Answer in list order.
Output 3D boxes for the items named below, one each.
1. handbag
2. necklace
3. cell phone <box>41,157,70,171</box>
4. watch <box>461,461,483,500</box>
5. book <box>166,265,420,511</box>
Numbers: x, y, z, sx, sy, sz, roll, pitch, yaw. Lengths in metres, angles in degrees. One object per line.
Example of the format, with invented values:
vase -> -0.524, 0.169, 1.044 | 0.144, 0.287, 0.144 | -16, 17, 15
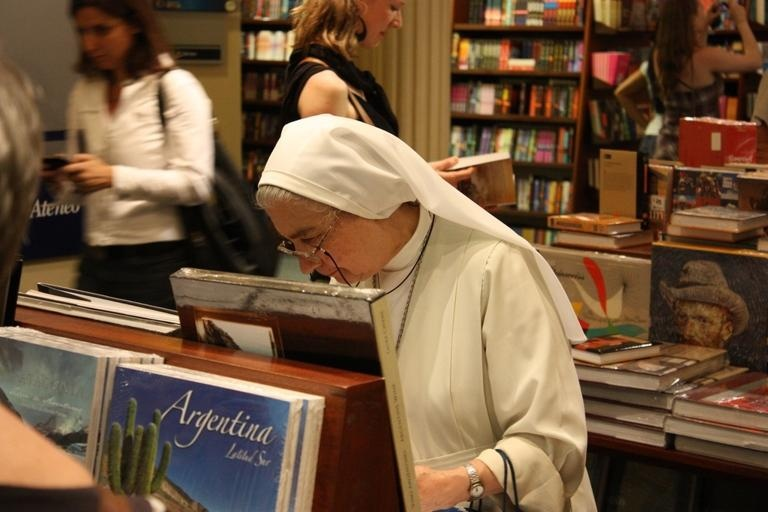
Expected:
handbag -> -0.548, -0.096, 2.668 | 0.125, 0.540, 0.379 | -32, 25, -19
necklace -> 0.077, 0.100, 1.875 | 0.037, 0.337, 0.044 | 7, -22, 45
cell phone -> -1.166, -0.313, 2.570 | 0.058, 0.024, 0.082 | -2, -3, -19
watch -> 0.201, 0.515, 1.628 | 0.030, 0.056, 0.052 | -12, 17, -8
book -> -0.183, 0.265, 1.357 | 0.382, 0.393, 0.140 | 9, 26, 43
